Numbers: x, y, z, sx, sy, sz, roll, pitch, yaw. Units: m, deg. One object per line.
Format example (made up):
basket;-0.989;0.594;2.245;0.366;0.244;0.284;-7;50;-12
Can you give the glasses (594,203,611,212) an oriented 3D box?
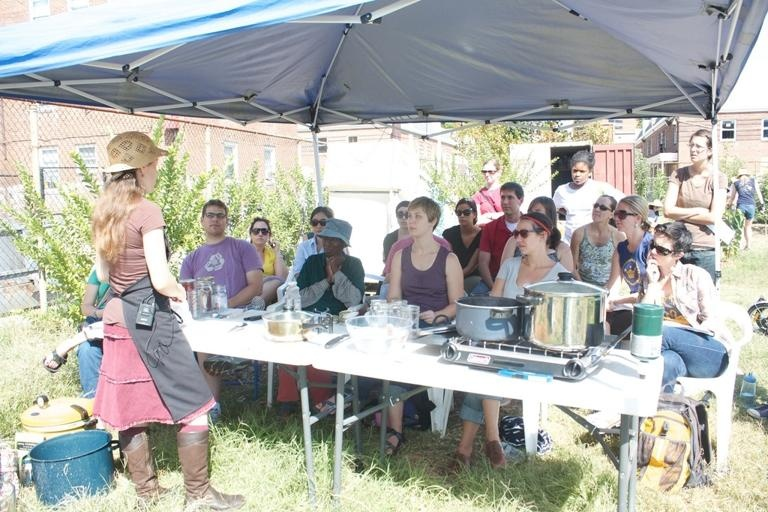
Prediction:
glasses;2.225;-0.495;6.645;0.170;0.077;0.082;6;14;18

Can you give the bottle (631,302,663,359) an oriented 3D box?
bottle;1.710;0.491;4.254;0.186;0.358;0.106;6;14;22

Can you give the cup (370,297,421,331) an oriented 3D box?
cup;0.060;0.409;4.763;0.297;0.140;0.199;7;5;39

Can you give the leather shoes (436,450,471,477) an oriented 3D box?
leather shoes;0.586;1.660;5.252;0.127;0.101;0.334;-6;4;30

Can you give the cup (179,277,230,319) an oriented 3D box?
cup;-1.502;0.346;5.486;0.398;0.389;0.252;-2;-2;-17

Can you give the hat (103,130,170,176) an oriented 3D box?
hat;-1.757;-0.747;4.649;0.249;0.167;0.352;-2;20;33

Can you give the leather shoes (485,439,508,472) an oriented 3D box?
leather shoes;0.897;1.581;5.221;0.088;0.110;0.272;-7;48;6

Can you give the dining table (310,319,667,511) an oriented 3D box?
dining table;1.128;0.692;4.536;1.458;1.001;1.509;2;1;30

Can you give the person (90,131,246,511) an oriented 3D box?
person;-1.658;0.494;4.569;0.684;2.612;0.875;-10;17;-39

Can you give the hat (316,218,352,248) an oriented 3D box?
hat;-0.467;-0.236;5.932;0.253;0.145;0.248;19;9;38

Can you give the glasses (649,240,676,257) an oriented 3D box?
glasses;2.260;-0.064;5.351;0.077;0.100;0.209;-8;17;-35

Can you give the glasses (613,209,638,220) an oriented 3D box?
glasses;2.288;-0.393;6.183;0.198;0.084;0.071;8;15;25

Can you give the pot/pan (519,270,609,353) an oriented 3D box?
pot/pan;1.174;0.386;4.230;0.528;0.417;0.422;1;-1;2

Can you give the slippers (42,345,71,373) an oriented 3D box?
slippers;-2.810;0.892;5.656;0.138;0.129;0.366;4;3;-1

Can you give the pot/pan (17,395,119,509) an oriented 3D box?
pot/pan;-2.431;1.461;4.941;0.575;0.625;0.840;-2;-8;5
